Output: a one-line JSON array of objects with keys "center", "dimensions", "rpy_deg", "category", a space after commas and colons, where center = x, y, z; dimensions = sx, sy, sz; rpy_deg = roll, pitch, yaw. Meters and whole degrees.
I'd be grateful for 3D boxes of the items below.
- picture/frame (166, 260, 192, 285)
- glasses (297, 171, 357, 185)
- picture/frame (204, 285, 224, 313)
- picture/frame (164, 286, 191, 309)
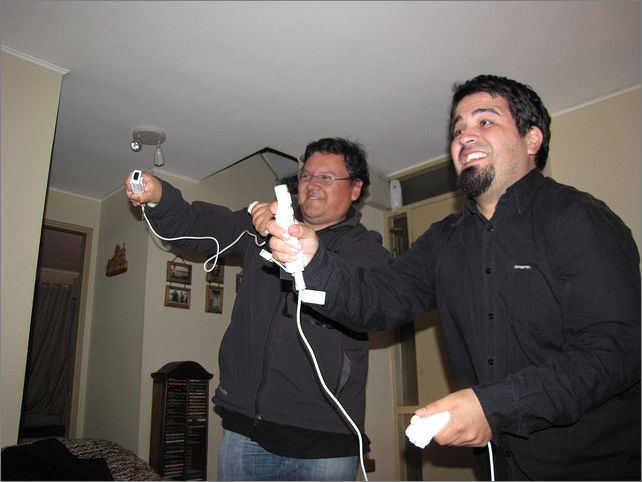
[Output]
[{"center": [-1.301, 0.291, 4.178], "dimensions": [0.187, 0.184, 0.013], "rpy_deg": [11, -23, -34], "category": "picture/frame"}, {"center": [0.029, -0.297, 2.212], "dimensions": [0.127, 0.038, 0.125], "rpy_deg": [7, 1, -42], "category": "glasses"}, {"center": [-1.009, 0.549, 4.306], "dimensions": [0.029, 0.300, 0.215], "rpy_deg": [-11, -14, 41], "category": "picture/frame"}, {"center": [-1.295, 0.511, 4.117], "dimensions": [0.180, 0.163, 0.016], "rpy_deg": [14, -26, -37], "category": "picture/frame"}]
